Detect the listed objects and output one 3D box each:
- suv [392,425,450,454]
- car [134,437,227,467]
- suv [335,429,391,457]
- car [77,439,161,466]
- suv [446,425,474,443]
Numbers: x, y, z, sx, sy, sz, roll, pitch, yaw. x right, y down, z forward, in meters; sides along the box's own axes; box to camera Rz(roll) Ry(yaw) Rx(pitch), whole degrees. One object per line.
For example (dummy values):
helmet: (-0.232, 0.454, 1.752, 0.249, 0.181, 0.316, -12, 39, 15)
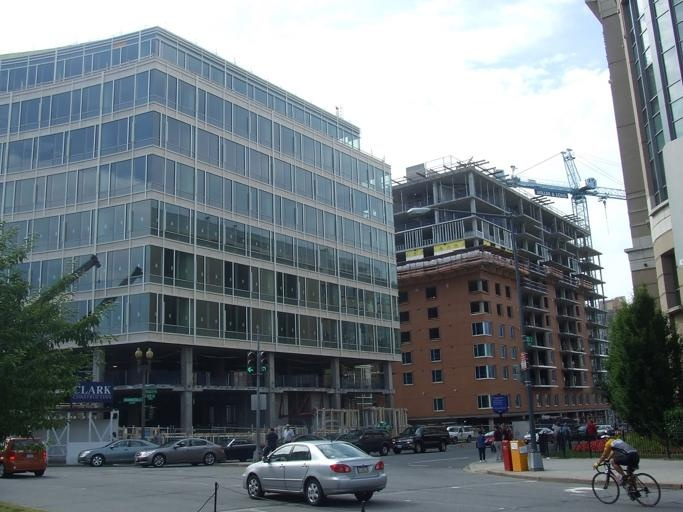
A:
suv: (6.140, 14.379, 54.306, 2.241, 1.515, 4.312, -14, -19, 42)
car: (-9.314, 11.352, 39.806, 4.354, 1.168, 1.779, 11, -18, -31)
suv: (1.865, 13.326, 48.520, 4.587, 1.641, 2.438, 12, -17, -34)
car: (-13.197, 11.677, 40.933, 4.488, 1.179, 1.868, 4, -12, -17)
suv: (11.469, 17.310, 67.043, 1.486, 1.641, 4.772, -12, -20, 26)
